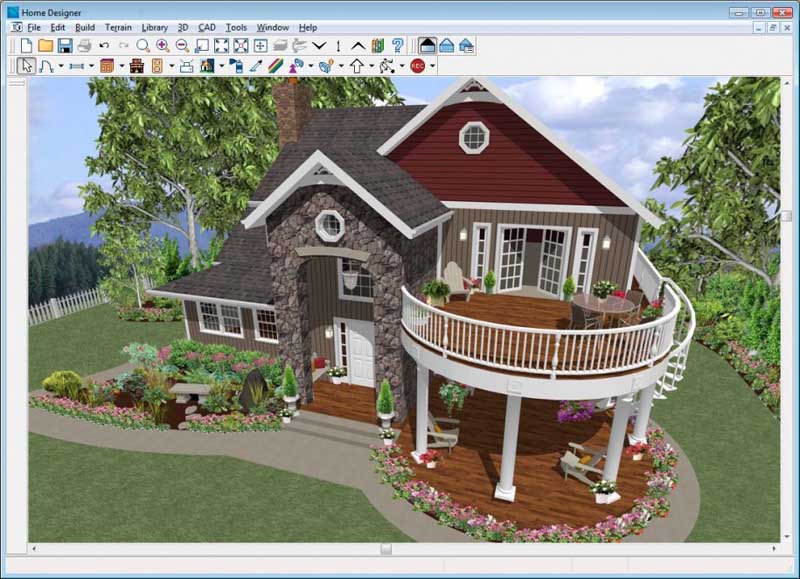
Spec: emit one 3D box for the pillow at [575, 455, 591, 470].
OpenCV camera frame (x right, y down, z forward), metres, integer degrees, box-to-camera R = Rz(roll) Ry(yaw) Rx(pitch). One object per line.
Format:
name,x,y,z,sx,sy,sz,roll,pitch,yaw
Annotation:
pillow,5.689,5.358,18.735,0.271,0.274,0.334,10,-31,14

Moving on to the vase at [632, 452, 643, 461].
vase,7.748,5.434,19.726,0.275,0.293,0.347,0,11,6

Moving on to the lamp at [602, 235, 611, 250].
lamp,7.228,-1.596,21.126,0.299,0.524,0.186,5,9,19

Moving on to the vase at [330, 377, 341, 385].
vase,-2.413,3.471,23.054,0.290,0.219,0.241,-6,14,-30

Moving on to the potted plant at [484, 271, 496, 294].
potted plant,3.335,-0.239,22.344,0.373,0.809,0.577,4,9,13

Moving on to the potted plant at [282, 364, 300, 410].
potted plant,-3.826,3.513,21.392,0.577,1.620,0.373,0,9,-12

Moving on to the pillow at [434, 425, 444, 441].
pillow,1.284,4.699,19.823,0.308,0.379,0.292,1,18,5

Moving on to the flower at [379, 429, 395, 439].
flower,-0.412,4.826,20.263,0.340,0.106,0.326,-2,13,-12

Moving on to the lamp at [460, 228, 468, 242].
lamp,2.368,-1.988,22.502,0.252,0.503,0.213,6,10,29

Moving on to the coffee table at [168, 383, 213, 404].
coffee table,-7.661,3.869,22.375,1.534,0.650,0.667,2,9,5

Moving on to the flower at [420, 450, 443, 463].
flower,1.009,5.322,19.333,0.409,0.312,0.418,3,13,10

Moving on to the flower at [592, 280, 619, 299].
flower,6.395,0.045,19.125,0.718,0.500,0.695,1,5,-3

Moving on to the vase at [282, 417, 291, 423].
vase,-3.957,4.582,21.208,0.209,0.217,0.079,-5,-4,-3

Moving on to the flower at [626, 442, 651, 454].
flower,7.667,5.100,19.552,0.452,0.203,0.451,-2,8,-1

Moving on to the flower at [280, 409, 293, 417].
flower,-3.976,4.367,21.361,0.498,0.230,0.208,4,9,14

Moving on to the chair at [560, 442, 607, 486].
chair,5.715,5.505,18.908,0.936,1.009,0.758,4,52,35

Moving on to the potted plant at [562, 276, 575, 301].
potted plant,5.923,0.020,21.187,0.478,0.953,0.445,2,28,5

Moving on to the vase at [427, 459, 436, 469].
vase,1.018,5.569,19.344,0.259,0.269,0.232,4,12,14

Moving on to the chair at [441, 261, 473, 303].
chair,2.130,-0.269,21.697,1.287,1.323,0.680,-5,11,-37

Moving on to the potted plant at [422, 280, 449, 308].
potted plant,1.214,0.175,20.710,0.857,0.846,0.860,-1,14,-4

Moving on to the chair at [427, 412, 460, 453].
chair,1.437,4.778,20.192,1.137,0.931,1.187,4,18,8

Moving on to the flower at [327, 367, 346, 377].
flower,-2.339,3.132,22.999,0.450,0.286,0.427,4,12,12
